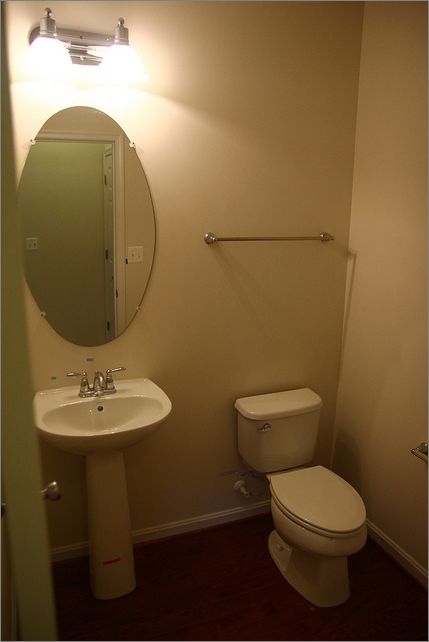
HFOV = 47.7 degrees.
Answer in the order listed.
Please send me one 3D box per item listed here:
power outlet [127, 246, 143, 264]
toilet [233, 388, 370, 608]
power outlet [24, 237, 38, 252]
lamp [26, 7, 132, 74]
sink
[{"bbox_3d":[-0.313,-0.259,1.884,0.059,0.068,0.008,-4,19,-19],"label":"power outlet"},{"bbox_3d":[0.359,0.705,1.961,0.325,0.664,0.592,-7,17,-19],"label":"toilet"},{"bbox_3d":[-0.643,-0.269,1.687,0.045,0.044,0.006,-11,18,-44],"label":"power outlet"},{"bbox_3d":[-0.441,-0.904,1.579,0.328,0.184,0.154,-4,10,-30],"label":"lamp"},{"bbox_3d":[-0.396,0.369,1.736,0.462,0.181,0.425,-3,10,-23],"label":"sink"}]
